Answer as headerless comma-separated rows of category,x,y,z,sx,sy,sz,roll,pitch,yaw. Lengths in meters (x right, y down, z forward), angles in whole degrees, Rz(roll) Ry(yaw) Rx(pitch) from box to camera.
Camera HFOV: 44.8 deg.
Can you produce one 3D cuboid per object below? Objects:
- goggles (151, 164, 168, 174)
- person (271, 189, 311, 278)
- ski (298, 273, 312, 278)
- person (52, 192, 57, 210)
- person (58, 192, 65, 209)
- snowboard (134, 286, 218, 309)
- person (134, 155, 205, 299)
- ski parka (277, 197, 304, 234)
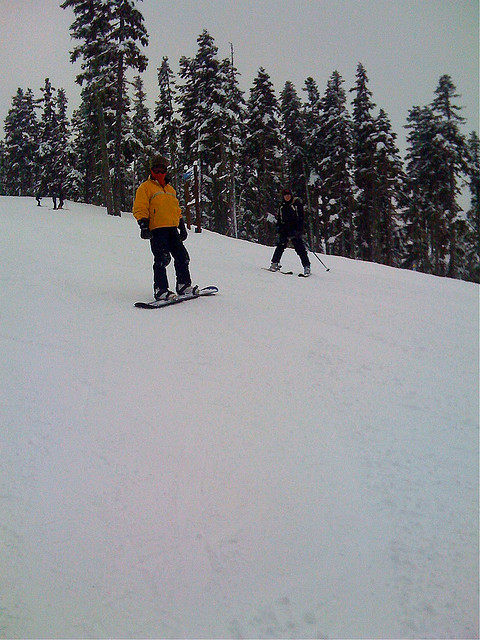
goggles,-0.928,-1.741,6.682,0.181,0.113,0.192,2,13,-12
person,0.848,-1.578,10.456,0.796,1.539,0.717,-5,13,-40
ski,1.129,-0.817,10.553,0.227,0.049,0.315,11,15,24
person,-6.840,-4.413,21.445,0.130,0.635,0.848,-1,13,-20
person,-6.667,-4.452,21.676,0.148,0.630,0.950,-1,14,-23
snowboard,-0.705,-0.268,6.768,0.224,0.061,1.518,11,15,24
person,-0.882,-1.075,6.714,0.536,1.578,0.886,10,12,37
ski parka,0.894,-1.839,10.320,0.525,0.794,0.407,-3,18,-3
